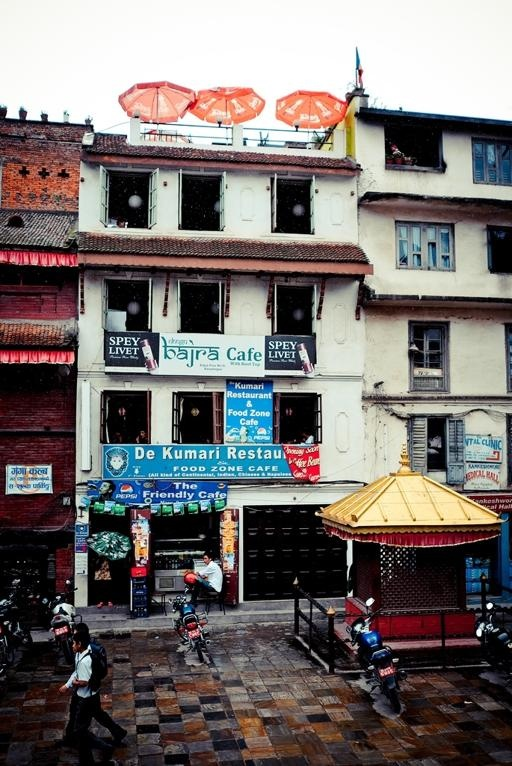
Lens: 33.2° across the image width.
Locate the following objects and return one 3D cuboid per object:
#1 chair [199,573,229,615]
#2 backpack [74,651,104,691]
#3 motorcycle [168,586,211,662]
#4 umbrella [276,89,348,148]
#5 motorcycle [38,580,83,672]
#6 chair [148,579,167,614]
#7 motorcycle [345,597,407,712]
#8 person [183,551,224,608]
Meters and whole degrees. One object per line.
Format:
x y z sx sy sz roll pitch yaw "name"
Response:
-0.995 4.319 18.345 0.641 1.011 0.796 0 -15 2 "chair"
-2.270 3.993 11.969 0.544 0.590 0.413 5 -12 -17 "backpack"
-1.355 4.512 16.685 0.610 0.789 1.380 -1 5 -14 "motorcycle"
1.586 -7.898 24.794 2.061 1.245 0.681 1 1 33 "umbrella"
-3.725 4.578 16.602 0.609 1.129 1.825 -20 5 -10 "motorcycle"
-2.380 5.143 20.646 0.572 0.955 0.548 0 -3 5 "chair"
2.030 4.607 14.583 0.716 1.384 2.256 -18 0 -4 "motorcycle"
-1.120 4.144 18.195 0.765 1.235 0.546 5 -2 -10 "person"
